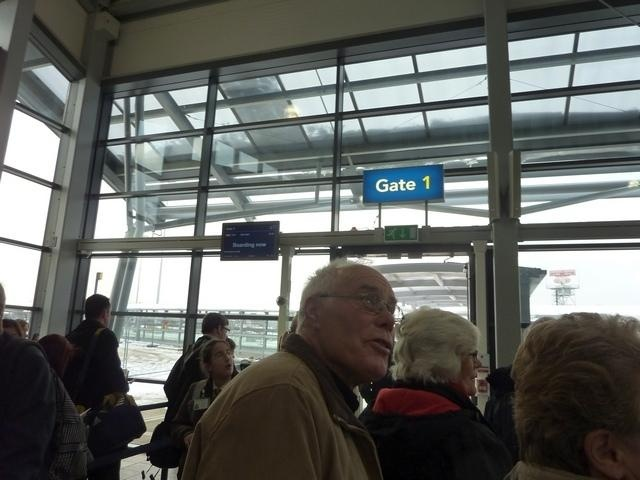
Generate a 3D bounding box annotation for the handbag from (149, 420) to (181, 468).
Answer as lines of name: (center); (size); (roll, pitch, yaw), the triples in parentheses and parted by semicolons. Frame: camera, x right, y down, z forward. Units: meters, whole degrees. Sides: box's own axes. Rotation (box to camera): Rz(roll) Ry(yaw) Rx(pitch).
handbag: (-1.046, 1.403, 3.227); (0.115, 0.317, 0.228); (0, 3, 39)
